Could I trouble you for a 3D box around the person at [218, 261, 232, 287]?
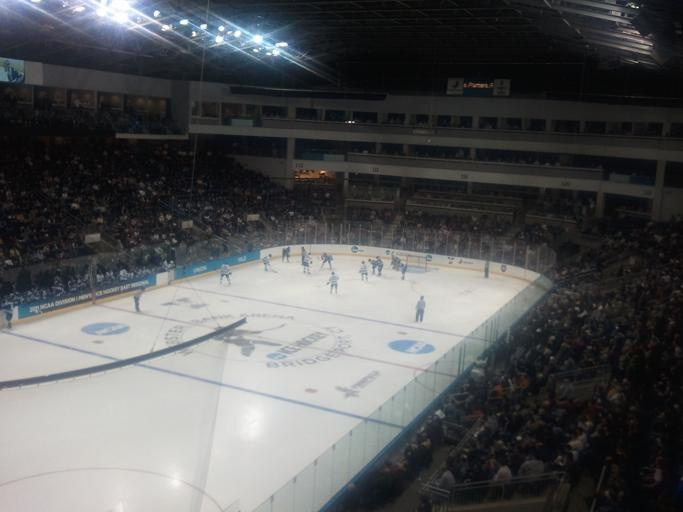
[{"bbox_3d":[-7.186,1.015,36.985,0.668,1.366,1.560,-1,14,-12],"label":"person"}]
